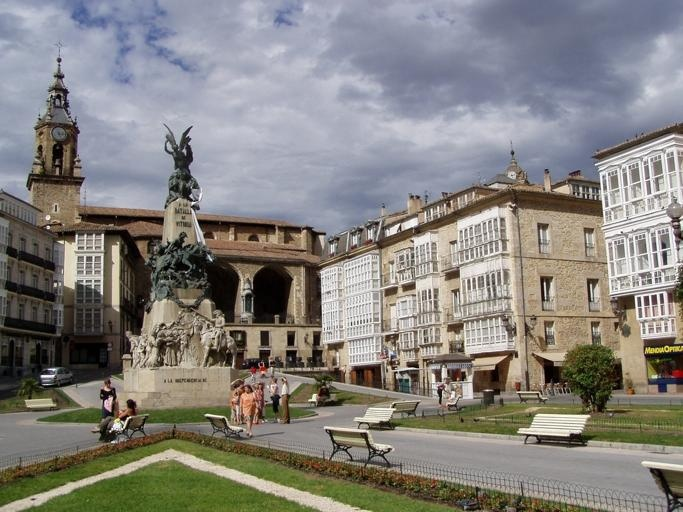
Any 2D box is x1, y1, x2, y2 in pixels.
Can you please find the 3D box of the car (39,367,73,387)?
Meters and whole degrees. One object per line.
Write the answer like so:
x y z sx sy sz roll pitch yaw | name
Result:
-23.288 9.898 50.505 1.468 1.526 2.736 -2 -13 8 | car

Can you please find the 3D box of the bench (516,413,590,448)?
7.113 5.703 20.309 1.313 0.943 2.320 11 -17 -40 | bench

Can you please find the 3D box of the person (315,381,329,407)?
-1.238 9.002 40.168 1.202 0.826 2.573 2 18 -1 | person

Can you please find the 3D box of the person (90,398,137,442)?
-7.846 5.808 21.826 1.145 1.374 2.234 4 -14 -18 | person

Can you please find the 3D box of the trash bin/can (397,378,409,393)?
5.951 12.493 59.525 1.357 1.234 1.232 5 -10 -34 | trash bin/can

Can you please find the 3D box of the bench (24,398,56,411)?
-18.071 9.017 37.390 1.836 0.629 0.735 -1 -13 1 | bench

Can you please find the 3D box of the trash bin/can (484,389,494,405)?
8.071 7.780 33.943 0.470 0.715 0.915 -3 -13 11 | trash bin/can

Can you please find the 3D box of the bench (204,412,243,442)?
-4.411 6.401 23.239 1.113 0.804 2.914 4 -14 -17 | bench
